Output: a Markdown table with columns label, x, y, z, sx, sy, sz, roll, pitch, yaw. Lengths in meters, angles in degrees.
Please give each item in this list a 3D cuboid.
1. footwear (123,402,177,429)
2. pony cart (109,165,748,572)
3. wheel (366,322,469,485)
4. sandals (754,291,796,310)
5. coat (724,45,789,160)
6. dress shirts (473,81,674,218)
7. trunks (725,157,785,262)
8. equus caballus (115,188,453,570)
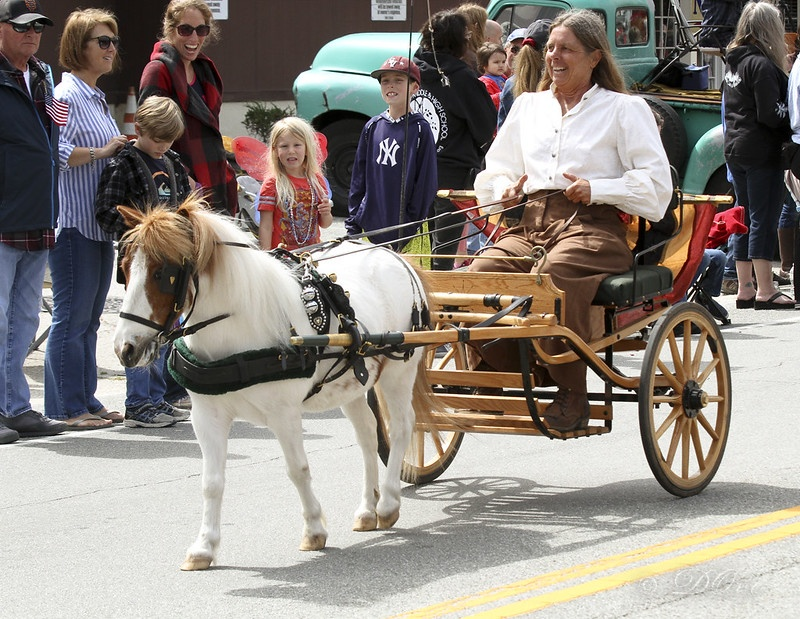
| label | x | y | z | sx | sy | sz | roll | pitch | yaw |
| --- | --- | --- | --- | --- | --- | --- | --- | --- | --- |
| footwear | -1.775 | 0.754 | 10.087 | 0.397 | 0.142 | 0.136 | 1 | 2 | -7 |
| pony cart | 0.063 | 0.269 | 8.214 | 3.527 | 1.392 | 2.009 | -1 | 1 | -43 |
| wheel | 0.156 | 0.648 | 8.989 | 0.272 | 0.816 | 1.011 | -1 | 0 | -22 |
| sandals | 3.688 | -0.100 | 14.121 | 0.377 | 0.119 | 0.168 | -1 | 3 | 6 |
| coat | 3.348 | -1.943 | 13.577 | 0.667 | 1.134 | 0.392 | 4 | 17 | 23 |
| dress shirts | 1.069 | -1.017 | 8.906 | 1.445 | 0.786 | 0.775 | 9 | 26 | 44 |
| trunks | 3.574 | -0.961 | 13.932 | 0.405 | 0.979 | 0.498 | -8 | 10 | 3 |
| equus caballus | -0.622 | 0.337 | 7.642 | 1.781 | 1.933 | 0.626 | -12 | 18 | -34 |
